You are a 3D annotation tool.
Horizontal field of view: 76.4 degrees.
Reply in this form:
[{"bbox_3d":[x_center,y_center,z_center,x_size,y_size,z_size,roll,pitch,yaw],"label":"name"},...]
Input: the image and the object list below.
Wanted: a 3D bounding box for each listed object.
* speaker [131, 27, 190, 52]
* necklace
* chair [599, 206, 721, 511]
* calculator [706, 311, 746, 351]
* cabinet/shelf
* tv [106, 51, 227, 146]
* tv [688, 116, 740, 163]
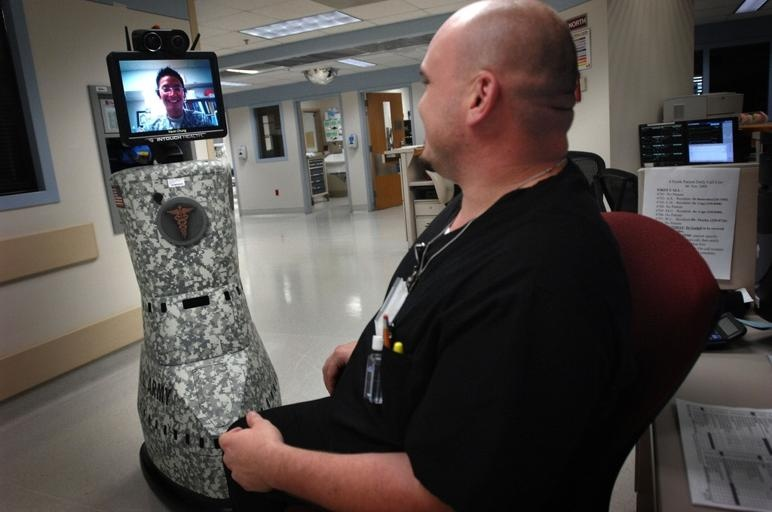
[{"bbox_3d":[-1.049,-0.991,2.250,0.229,0.120,0.118,-13,15,-26],"label":"speaker"},{"bbox_3d":[0.276,-0.034,1.220,0.411,0.129,0.234,-47,16,7],"label":"necklace"},{"bbox_3d":[0.606,0.165,1.067,0.220,0.454,0.307,0,15,24],"label":"chair"},{"bbox_3d":[1.052,0.241,1.517,0.135,0.029,0.141,-41,6,40],"label":"calculator"},{"bbox_3d":[0.447,-0.850,6.566,1.178,1.212,1.234,-3,16,11],"label":"cabinet/shelf"},{"bbox_3d":[-1.009,-0.726,2.322,0.345,0.282,0.166,-4,4,0],"label":"tv"},{"bbox_3d":[3.045,-1.068,4.555,0.368,0.410,0.711,-3,14,14],"label":"tv"}]
